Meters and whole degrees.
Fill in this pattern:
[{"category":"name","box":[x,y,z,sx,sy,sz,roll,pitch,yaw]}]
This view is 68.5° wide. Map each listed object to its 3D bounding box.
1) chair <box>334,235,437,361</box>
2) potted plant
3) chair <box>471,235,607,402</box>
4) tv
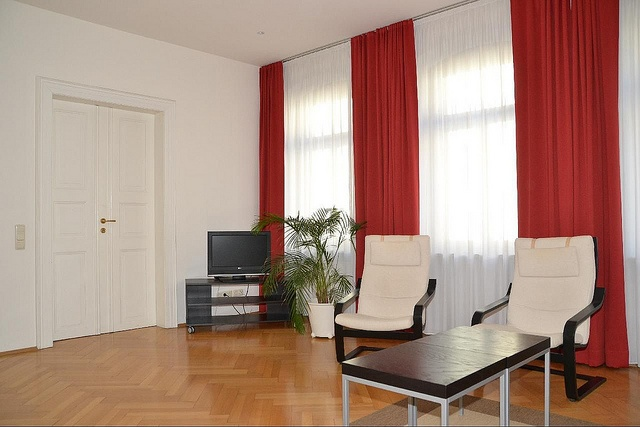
[{"category":"chair","box":[0.724,0.946,5.089,1.005,1.313,1.076,-1,2,20]},{"category":"potted plant","box":[-0.049,0.786,6.395,1.571,1.777,1.660,-2,6,-14]},{"category":"chair","box":[2.102,0.981,5.176,1.370,1.907,1.438,-4,-5,42]},{"category":"tv","box":[-1.137,0.604,6.523,0.722,0.518,0.215,1,-1,-7]}]
